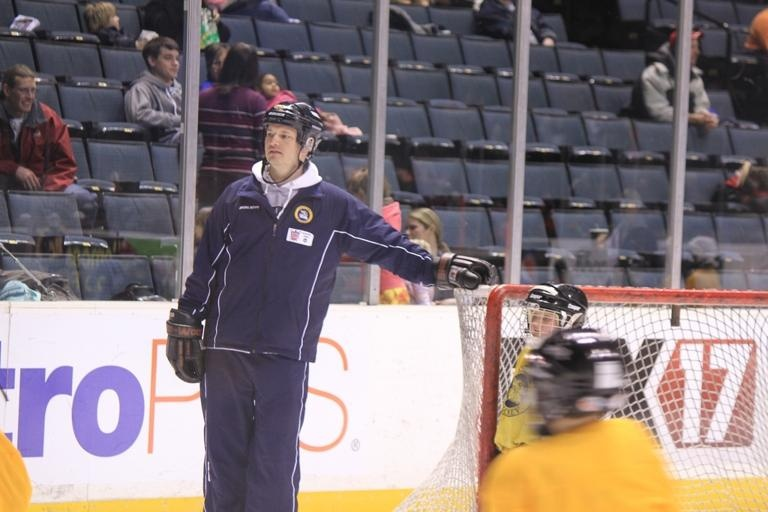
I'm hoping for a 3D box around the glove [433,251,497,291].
[{"bbox_3d":[0.499,0.078,10.422,0.260,0.117,0.262,4,11,18],"label":"glove"}]

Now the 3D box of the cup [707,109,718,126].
[{"bbox_3d":[2.489,-1.058,12.604,0.082,0.102,0.106,-1,0,-2],"label":"cup"}]

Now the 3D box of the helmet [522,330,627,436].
[{"bbox_3d":[1.086,0.693,9.367,0.603,0.569,0.485,4,1,13],"label":"helmet"}]

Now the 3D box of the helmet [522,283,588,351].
[{"bbox_3d":[1.044,0.349,10.298,0.415,0.388,0.319,7,-5,-12],"label":"helmet"}]

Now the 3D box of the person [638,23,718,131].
[{"bbox_3d":[2.092,-1.358,12.561,0.691,0.816,0.580,8,7,31],"label":"person"}]

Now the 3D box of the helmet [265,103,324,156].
[{"bbox_3d":[-0.596,-0.819,10.760,0.364,0.338,0.297,4,-4,-28],"label":"helmet"}]

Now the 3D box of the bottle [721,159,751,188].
[{"bbox_3d":[2.669,-0.639,12.665,0.154,0.241,0.101,28,-5,-22],"label":"bottle"}]

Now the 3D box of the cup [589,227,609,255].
[{"bbox_3d":[1.588,-0.122,12.266,0.171,0.225,0.179,1,-5,0],"label":"cup"}]
